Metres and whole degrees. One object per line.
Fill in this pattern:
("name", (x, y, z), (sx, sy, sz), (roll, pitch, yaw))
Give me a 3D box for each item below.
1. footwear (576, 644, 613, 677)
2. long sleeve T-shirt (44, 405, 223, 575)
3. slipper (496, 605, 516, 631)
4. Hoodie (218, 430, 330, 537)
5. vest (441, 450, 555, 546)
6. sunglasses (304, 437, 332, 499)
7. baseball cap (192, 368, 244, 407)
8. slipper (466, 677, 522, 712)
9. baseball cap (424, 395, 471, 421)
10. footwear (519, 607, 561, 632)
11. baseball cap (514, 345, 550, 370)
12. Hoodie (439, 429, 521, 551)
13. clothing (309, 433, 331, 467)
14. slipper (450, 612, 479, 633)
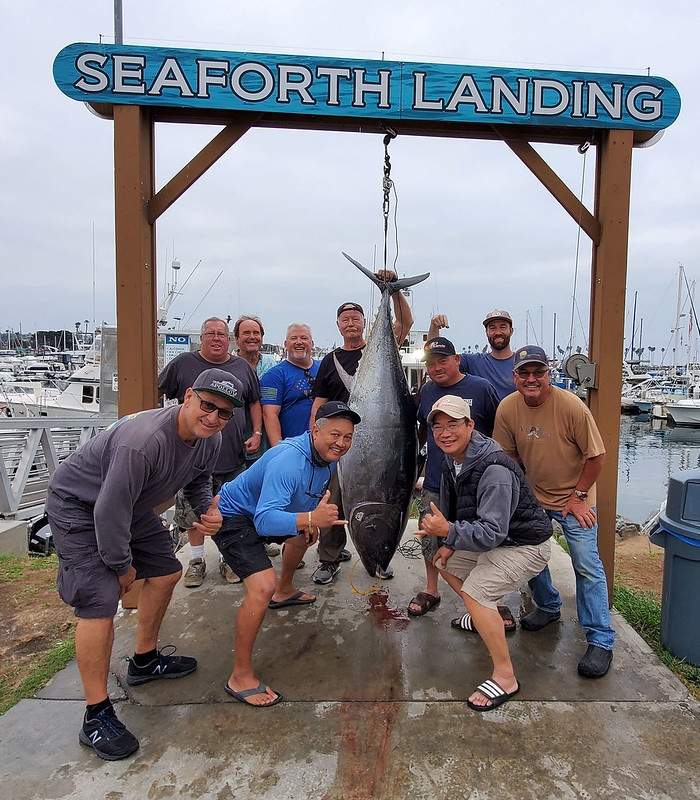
("footwear", (1.130, 1.185, 2.587), (0.108, 0.107, 0.257), (6, 9, 41))
("long sleeve T-shirt", (-0.807, 0.317, 2.176), (0.569, 0.650, 0.231), (34, -13, -21))
("slipper", (0.831, 1.151, 3.052), (0.091, 0.084, 0.296), (-5, -8, 4))
("Hoodie", (-0.327, 0.370, 2.448), (0.392, 0.532, 0.319), (5, 13, -12))
("vest", (0.622, 0.442, 2.523), (0.408, 0.419, 0.436), (-1, -6, -13))
("sunglasses", (-0.165, 0.301, 2.527), (0.062, 0.274, 0.138), (4, -7, 41))
("baseball cap", (-0.501, -0.045, 2.155), (0.128, 0.101, 0.169), (32, -4, -41))
("slipper", (0.575, 1.194, 2.318), (0.196, 0.071, 0.081), (6, -7, -42))
("baseball cap", (0.438, 0.039, 2.462), (0.151, 0.115, 0.190), (7, 9, 44))
("footwear", (1.007, 1.151, 3.005), (0.223, 0.111, 0.091), (-4, -3, -26))
("baseball cap", (0.850, -0.206, 2.645), (0.154, 0.093, 0.124), (5, 8, 34))
("Hoodie", (0.563, 0.411, 2.423), (0.315, 0.511, 0.359), (2, 6, 19))
("clothing", (-0.129, 0.233, 2.456), (0.090, 0.142, 0.049), (13, -31, -37))
("slipper", (0.579, 1.142, 2.956), (0.181, 0.074, 0.080), (5, 6, 42))
